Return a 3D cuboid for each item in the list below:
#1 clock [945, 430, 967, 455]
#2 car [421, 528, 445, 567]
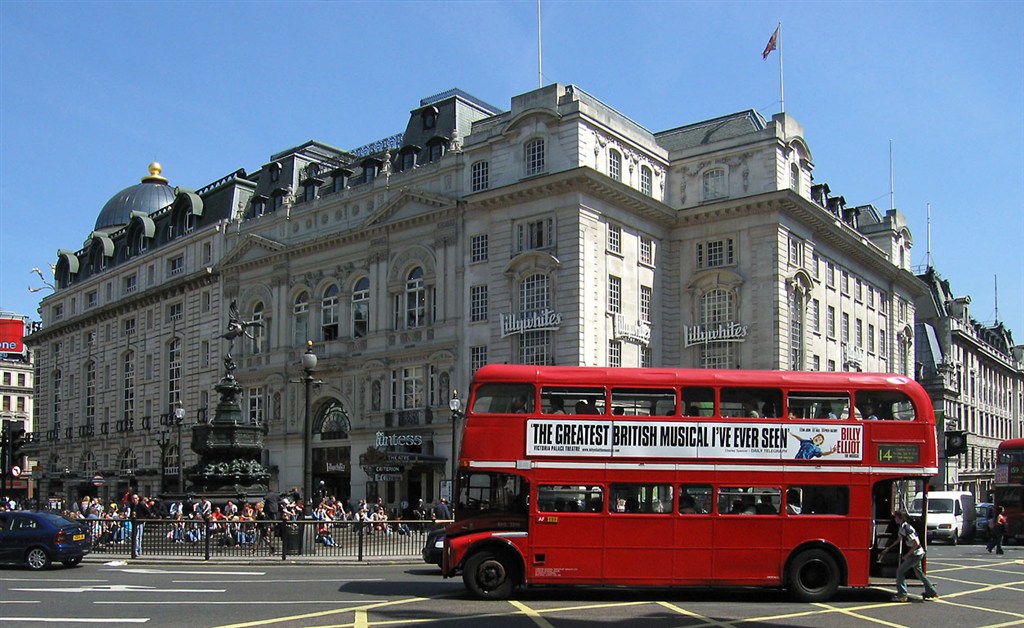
[{"bbox_3d":[23.228,6.731,83.021,1.396,1.411,1.317,-1,-16,4],"label":"clock"},{"bbox_3d":[-4.150,12.392,84.674,1.549,1.189,2.556,0,-2,1],"label":"car"}]
